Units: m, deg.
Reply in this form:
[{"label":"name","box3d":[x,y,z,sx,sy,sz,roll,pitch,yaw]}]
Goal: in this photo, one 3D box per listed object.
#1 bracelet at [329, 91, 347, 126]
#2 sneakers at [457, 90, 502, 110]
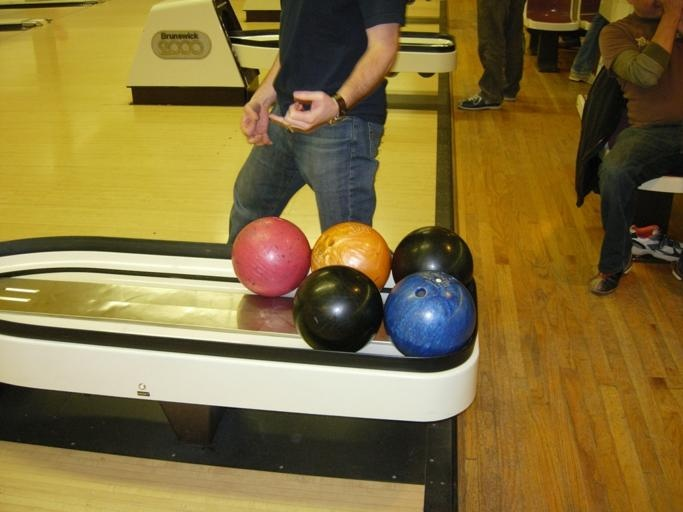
[{"label":"bracelet","box3d":[-0.001,-0.473,1.790,0.071,0.070,0.068,8,83,1]},{"label":"sneakers","box3d":[1.220,-1.395,5.055,0.408,0.192,0.153,1,31,6]}]
